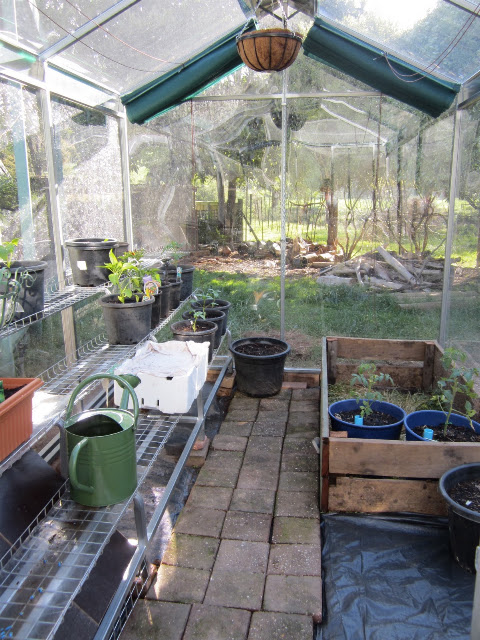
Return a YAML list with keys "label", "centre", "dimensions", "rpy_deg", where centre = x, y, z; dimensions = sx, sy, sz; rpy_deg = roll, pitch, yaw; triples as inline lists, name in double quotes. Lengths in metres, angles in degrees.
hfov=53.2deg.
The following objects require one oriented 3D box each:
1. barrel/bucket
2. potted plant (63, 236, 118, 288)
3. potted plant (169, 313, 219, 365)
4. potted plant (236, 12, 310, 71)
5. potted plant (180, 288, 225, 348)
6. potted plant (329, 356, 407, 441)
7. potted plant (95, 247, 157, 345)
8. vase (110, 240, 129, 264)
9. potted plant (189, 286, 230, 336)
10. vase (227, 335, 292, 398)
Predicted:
- label: "barrel/bucket"
  centre: [-0.500, 0.428, 1.621]
  dimensions: [0.238, 0.355, 0.436]
  rpy_deg: [-1, 6, 3]
- label: "potted plant"
  centre: [-0.733, -0.288, 2.433]
  dimensions: [0.241, 0.182, 0.245]
  rpy_deg: [1, 5, 11]
- label: "potted plant"
  centre: [-0.293, 0.111, 3.136]
  dimensions: [0.304, 0.214, 0.310]
  rpy_deg: [0, 6, -2]
- label: "potted plant"
  centre: [0.138, -1.252, 2.227]
  dimensions: [0.244, 0.120, 0.237]
  rpy_deg: [-2, 12, -1]
- label: "potted plant"
  centre: [-0.239, -0.024, 3.721]
  dimensions: [0.389, 0.305, 0.405]
  rpy_deg: [4, 9, 14]
- label: "potted plant"
  centre: [0.727, 0.509, 2.796]
  dimensions: [0.496, 0.573, 0.474]
  rpy_deg: [1, 10, 14]
- label: "potted plant"
  centre: [-0.565, -0.136, 2.506]
  dimensions: [0.248, 0.244, 0.585]
  rpy_deg: [2, 12, -6]
- label: "vase"
  centre: [-0.640, -0.377, 2.555]
  dimensions: [0.096, 0.072, 0.098]
  rpy_deg: [2, 4, 7]
- label: "potted plant"
  centre: [-0.223, -0.080, 3.728]
  dimensions: [0.342, 0.268, 0.360]
  rpy_deg: [5, 9, 19]
- label: "vase"
  centre: [0.139, 0.359, 3.763]
  dimensions: [0.482, 0.339, 0.471]
  rpy_deg: [2, 15, 5]
